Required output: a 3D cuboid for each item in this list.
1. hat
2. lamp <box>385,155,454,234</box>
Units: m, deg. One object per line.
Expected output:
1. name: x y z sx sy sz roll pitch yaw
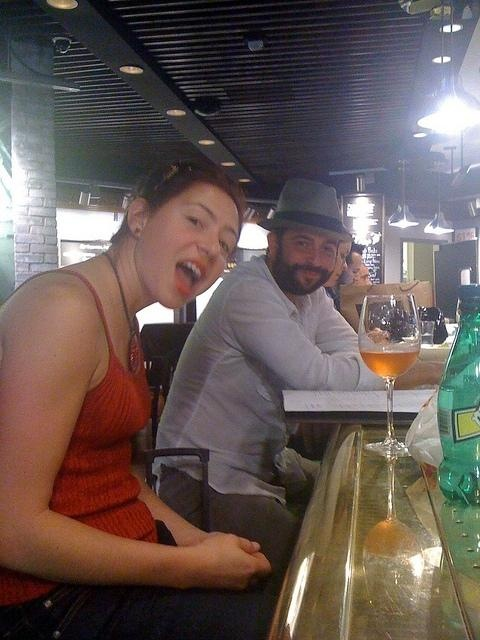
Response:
1. hat: 0.304 -0.499 2.134 0.290 0.194 0.364 9 -12 2
2. lamp: 3.531 -2.519 9.152 1.214 1.331 0.696 7 -10 -25
